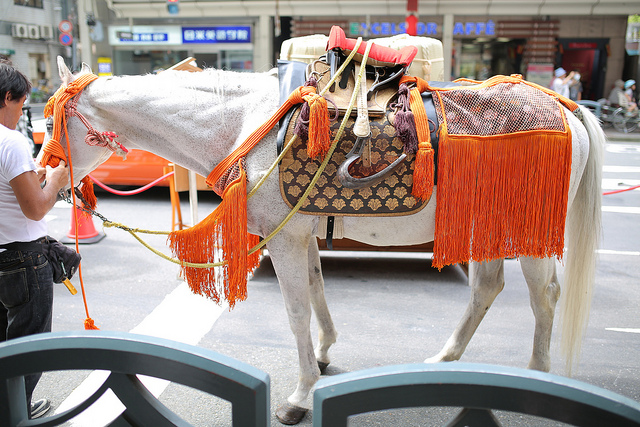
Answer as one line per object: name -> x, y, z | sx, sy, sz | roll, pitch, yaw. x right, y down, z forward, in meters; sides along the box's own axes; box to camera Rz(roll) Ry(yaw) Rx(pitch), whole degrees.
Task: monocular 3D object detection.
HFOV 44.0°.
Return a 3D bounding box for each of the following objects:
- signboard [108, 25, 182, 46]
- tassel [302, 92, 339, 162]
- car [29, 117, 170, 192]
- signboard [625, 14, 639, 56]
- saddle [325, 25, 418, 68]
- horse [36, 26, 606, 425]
signboard -> -4.324, -4.364, 19.542 | 1.871, 0.536, 0.176 | 2, 20, 5
tassel -> -0.020, -0.702, 6.571 | 0.319, 0.526, 0.240 | -5, 26, -18
car -> -2.917, -0.712, 11.789 | 2.329, 1.041, 1.363 | -1, 10, 0
signboard -> 7.937, -4.459, 20.062 | 0.352, 1.015, 0.783 | 8, 21, 23
saddle -> 0.475, -1.450, 6.996 | 0.776, 0.280, 0.641 | 12, 17, 4
horse -> 0.200, 0.000, 6.979 | 4.549, 3.120, 1.040 | -2, 20, -5
